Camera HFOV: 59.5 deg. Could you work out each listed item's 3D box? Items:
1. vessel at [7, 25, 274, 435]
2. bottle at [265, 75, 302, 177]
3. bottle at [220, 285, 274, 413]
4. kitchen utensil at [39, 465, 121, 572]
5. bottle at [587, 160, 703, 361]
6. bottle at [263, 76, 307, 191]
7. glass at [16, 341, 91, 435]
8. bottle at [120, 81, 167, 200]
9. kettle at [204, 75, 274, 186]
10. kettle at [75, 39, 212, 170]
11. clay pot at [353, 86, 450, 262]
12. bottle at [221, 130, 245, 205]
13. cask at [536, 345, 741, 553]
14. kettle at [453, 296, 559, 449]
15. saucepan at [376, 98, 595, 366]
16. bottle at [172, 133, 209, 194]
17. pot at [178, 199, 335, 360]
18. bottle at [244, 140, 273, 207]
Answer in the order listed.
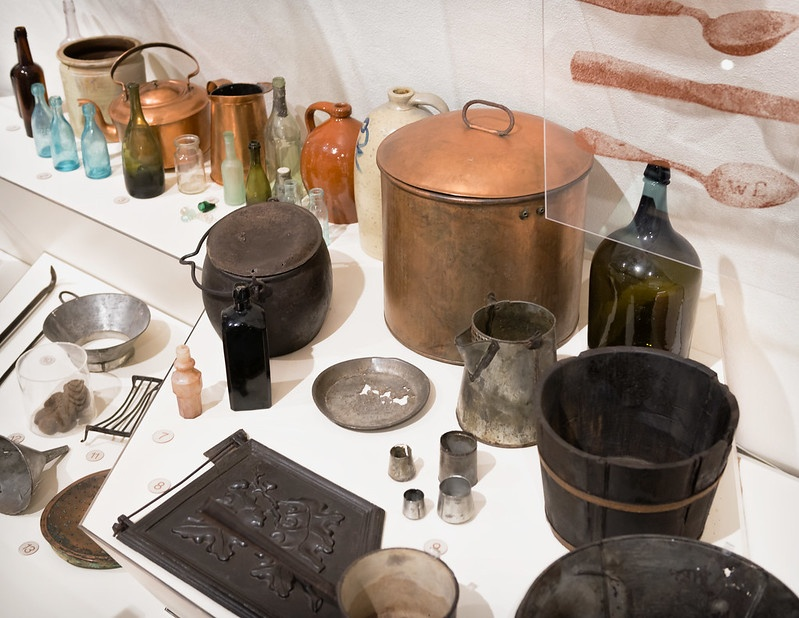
[{"bbox_3d":[-0.707,-0.578,2.342,0.562,0.596,0.832,26,44,24],"label":"vessel"},{"bbox_3d":[-0.325,-0.475,1.903,0.104,0.296,0.105,2,34,-1],"label":"bottle"},{"bbox_3d":[-0.289,0.061,1.309,0.083,0.232,0.134,-2,38,2],"label":"bottle"},{"bbox_3d":[-0.747,0.510,1.623,0.150,0.089,0.241,-16,40,-16],"label":"kitchen utensil"},{"bbox_3d":[0.408,-0.087,1.157,0.114,0.303,0.116,-5,51,6],"label":"bottle"},{"bbox_3d":[-0.325,-0.481,1.909,0.107,0.308,0.107,3,46,-3],"label":"bottle"},{"bbox_3d":[-0.881,0.205,1.772,0.142,0.165,0.142,17,35,22],"label":"glass"},{"bbox_3d":[-0.730,-0.458,1.913,0.118,0.307,0.083,-17,40,-17],"label":"bottle"},{"bbox_3d":[-0.464,-0.503,1.964,0.181,0.257,0.202,-23,42,-36],"label":"kettle"},{"bbox_3d":[-0.761,-0.603,2.081,0.354,0.371,0.249,0,31,2],"label":"kettle"},{"bbox_3d":[0.013,-0.316,1.678,0.220,0.394,0.235,-3,29,2],"label":"clay pot"},{"bbox_3d":[-0.461,-0.381,1.886,0.068,0.183,0.119,-12,39,-11],"label":"bottle"},{"bbox_3d":[0.350,0.227,1.059,0.258,0.215,0.282,-31,36,-31],"label":"cask"},{"bbox_3d":[0.189,0.106,1.223,0.171,0.206,0.173,5,33,9],"label":"kettle"},{"bbox_3d":[0.165,-0.194,1.423,0.393,0.454,0.410,28,44,37],"label":"saucepan"},{"bbox_3d":[-0.607,-0.421,2.002,0.086,0.153,0.090,4,34,-3],"label":"bottle"},{"bbox_3d":[-0.246,-0.080,1.424,0.310,0.214,0.276,6,43,0],"label":"pot"},{"bbox_3d":[-0.380,-0.351,1.840,0.071,0.177,0.071,3,32,-2],"label":"bottle"}]
